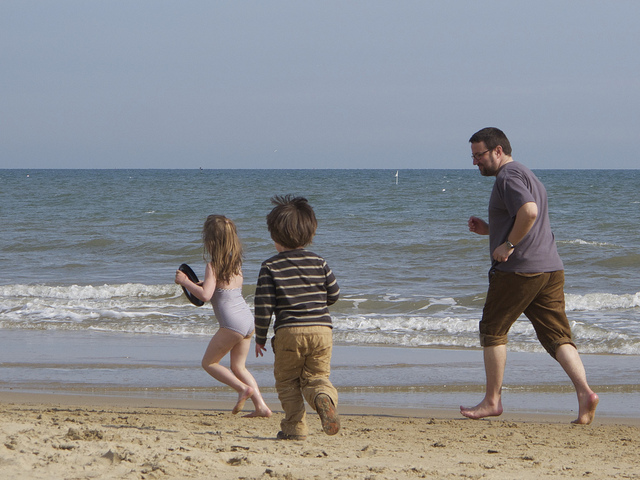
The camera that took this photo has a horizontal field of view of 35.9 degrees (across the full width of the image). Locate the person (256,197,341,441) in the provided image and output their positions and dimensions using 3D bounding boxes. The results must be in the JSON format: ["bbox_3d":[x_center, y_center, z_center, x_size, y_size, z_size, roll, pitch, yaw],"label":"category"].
[{"bbox_3d":[-0.212,0.776,9.671,0.865,2.350,0.538,1,7,7],"label":"person"}]

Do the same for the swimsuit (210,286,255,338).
[{"bbox_3d":[-0.886,0.699,10.369,0.422,0.535,0.462,4,5,18],"label":"swimsuit"}]
